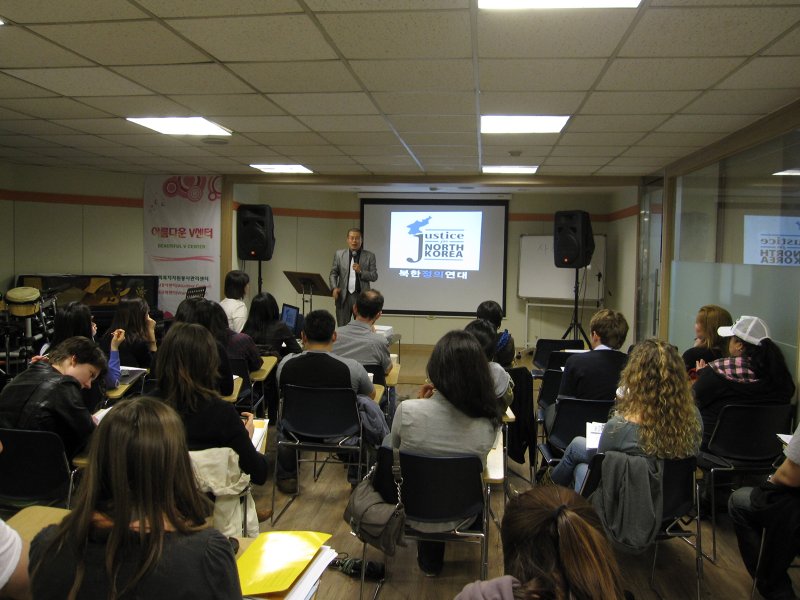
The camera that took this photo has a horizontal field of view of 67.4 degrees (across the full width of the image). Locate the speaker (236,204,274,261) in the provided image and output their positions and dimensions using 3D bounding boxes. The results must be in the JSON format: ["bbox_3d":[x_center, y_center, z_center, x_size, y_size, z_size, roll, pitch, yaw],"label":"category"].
[{"bbox_3d":[-1.889,-0.882,7.789,0.597,0.935,0.456,3,10,1],"label":"speaker"}]

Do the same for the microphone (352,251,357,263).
[{"bbox_3d":[-0.581,-0.550,7.631,0.092,0.119,0.050,1,3,14],"label":"microphone"}]

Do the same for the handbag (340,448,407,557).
[{"bbox_3d":[-0.122,1.046,3.122,0.373,0.482,0.235,25,21,37],"label":"handbag"}]

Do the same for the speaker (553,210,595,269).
[{"bbox_3d":[2.309,-0.812,7.941,0.522,0.743,0.513,-2,6,-19],"label":"speaker"}]

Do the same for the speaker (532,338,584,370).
[{"bbox_3d":[1.665,0.533,6.311,0.398,0.522,0.359,2,4,3],"label":"speaker"}]

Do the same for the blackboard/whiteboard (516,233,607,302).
[{"bbox_3d":[2.507,-0.498,9.121,0.989,0.860,0.147,1,1,15],"label":"blackboard/whiteboard"}]

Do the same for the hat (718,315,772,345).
[{"bbox_3d":[2.418,0.205,4.232,0.205,0.179,0.321,-1,2,-35],"label":"hat"}]

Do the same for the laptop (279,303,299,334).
[{"bbox_3d":[-1.259,0.210,6.795,0.281,0.298,0.230,-4,-10,42],"label":"laptop"}]
